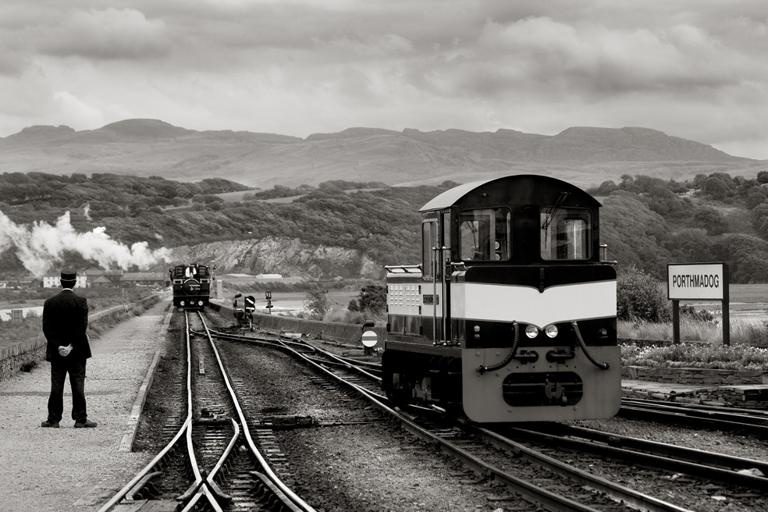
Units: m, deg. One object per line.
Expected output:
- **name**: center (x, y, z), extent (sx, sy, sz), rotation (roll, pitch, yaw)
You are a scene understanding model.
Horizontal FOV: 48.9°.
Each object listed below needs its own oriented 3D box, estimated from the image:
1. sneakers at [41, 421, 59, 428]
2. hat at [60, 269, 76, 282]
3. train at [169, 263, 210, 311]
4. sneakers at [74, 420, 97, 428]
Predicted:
- **sneakers**: center (-7.291, 3.681, 18.519), extent (0.410, 0.175, 0.143), rotation (7, 2, 16)
- **hat**: center (-6.926, 0.428, 18.583), extent (0.238, 0.149, 0.242), rotation (-2, 8, -30)
- **train**: center (-17.144, 2.661, 75.401), extent (3.275, 4.135, 3.651), rotation (1, 0, -14)
- **sneakers**: center (-6.575, 3.711, 18.673), extent (0.467, 0.198, 0.201), rotation (-2, 5, -15)
